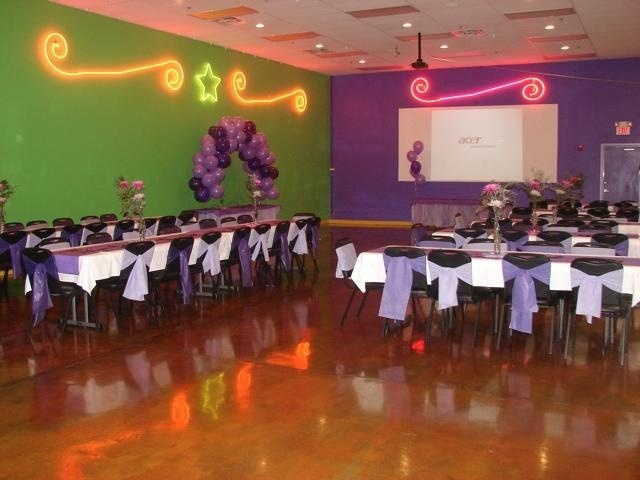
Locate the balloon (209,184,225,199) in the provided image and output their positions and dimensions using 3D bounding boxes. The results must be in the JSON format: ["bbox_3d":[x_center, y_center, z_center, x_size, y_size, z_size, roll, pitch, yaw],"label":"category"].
[{"bbox_3d":[-2.304,-1.069,11.131,0.307,0.337,0.354,9,-6,-35],"label":"balloon"}]

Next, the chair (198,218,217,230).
[{"bbox_3d":[-1.916,-0.281,8.436,0.187,0.180,0.200,-4,8,8],"label":"chair"}]

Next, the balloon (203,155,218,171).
[{"bbox_3d":[-2.410,-1.681,10.877,0.313,0.312,0.175,-3,8,-15],"label":"balloon"}]

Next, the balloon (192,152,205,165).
[{"bbox_3d":[-2.689,-1.778,10.890,0.223,0.294,0.241,3,-4,4],"label":"balloon"}]

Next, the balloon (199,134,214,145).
[{"bbox_3d":[-2.495,-2.200,10.865,0.224,0.303,0.241,0,13,-2],"label":"balloon"}]

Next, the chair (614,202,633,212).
[{"bbox_3d":[6.205,-0.675,10.136,0.251,0.130,0.267,3,10,21],"label":"chair"}]

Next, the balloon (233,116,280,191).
[{"bbox_3d":[-1.601,-1.938,12.008,0.683,1.861,1.465,2,9,20],"label":"balloon"}]

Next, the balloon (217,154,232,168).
[{"bbox_3d":[-2.116,-1.770,11.126,0.261,0.340,0.275,4,7,24],"label":"balloon"}]

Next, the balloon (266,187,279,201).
[{"bbox_3d":[-1.208,-1.173,12.535,0.270,0.347,0.273,6,1,-9],"label":"balloon"}]

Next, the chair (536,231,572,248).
[{"bbox_3d":[3.077,-0.036,6.467,0.259,0.287,0.270,4,8,21],"label":"chair"}]

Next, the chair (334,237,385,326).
[{"bbox_3d":[0.477,0.482,6.669,0.812,1.333,0.797,0,2,26],"label":"chair"}]

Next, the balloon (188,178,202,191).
[{"bbox_3d":[-2.789,-1.233,11.001,0.280,0.373,0.292,2,6,35],"label":"balloon"}]

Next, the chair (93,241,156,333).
[{"bbox_3d":[-2.397,0.489,6.216,0.646,0.995,1.016,-3,9,-19],"label":"chair"}]

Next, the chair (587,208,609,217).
[{"bbox_3d":[5.139,-0.486,9.142,0.330,0.133,0.167,2,9,18],"label":"chair"}]

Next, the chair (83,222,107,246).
[{"bbox_3d":[-3.347,-0.087,7.348,0.265,0.479,0.294,-4,13,-43],"label":"chair"}]

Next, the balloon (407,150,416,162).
[{"bbox_3d":[2.822,-2.574,15.258,0.307,0.329,0.266,1,8,10],"label":"balloon"}]

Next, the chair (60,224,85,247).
[{"bbox_3d":[-3.757,-0.056,7.640,0.356,0.451,0.403,3,-5,-32],"label":"chair"}]

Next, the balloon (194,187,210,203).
[{"bbox_3d":[-2.631,-1.003,10.976,0.287,0.373,0.302,5,13,28],"label":"balloon"}]

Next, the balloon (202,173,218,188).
[{"bbox_3d":[-2.431,-1.313,10.899,0.313,0.316,0.195,-2,8,-13],"label":"balloon"}]

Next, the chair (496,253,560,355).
[{"bbox_3d":[2.212,0.604,5.271,0.601,1.001,0.971,3,9,27],"label":"chair"}]

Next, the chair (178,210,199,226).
[{"bbox_3d":[-2.538,-0.425,9.553,0.284,0.358,0.381,-5,16,-1],"label":"chair"}]

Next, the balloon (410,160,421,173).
[{"bbox_3d":[2.924,-2.225,15.186,0.300,0.337,0.296,-5,-4,-3],"label":"balloon"}]

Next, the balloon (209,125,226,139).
[{"bbox_3d":[-2.261,-2.391,10.938,0.289,0.159,0.295,25,39,29],"label":"balloon"}]

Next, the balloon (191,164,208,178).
[{"bbox_3d":[-2.648,-1.518,10.900,0.257,0.285,0.310,-11,1,-10],"label":"balloon"}]

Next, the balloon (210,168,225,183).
[{"bbox_3d":[-2.311,-1.460,11.098,0.282,0.363,0.287,18,30,35],"label":"balloon"}]

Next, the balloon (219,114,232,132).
[{"bbox_3d":[-2.132,-2.642,11.237,0.324,0.421,0.340,4,8,22],"label":"balloon"}]

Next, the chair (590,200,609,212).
[{"bbox_3d":[5.831,-0.709,10.356,0.373,0.314,0.397,2,4,21],"label":"chair"}]

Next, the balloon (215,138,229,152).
[{"bbox_3d":[-2.168,-2.101,10.976,0.329,0.317,0.168,-4,8,-20],"label":"balloon"}]

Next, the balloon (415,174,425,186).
[{"bbox_3d":[3.083,-1.827,15.240,0.274,0.358,0.292,-8,-4,16],"label":"balloon"}]

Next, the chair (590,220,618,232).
[{"bbox_3d":[4.281,-0.209,7.536,0.254,0.132,0.258,1,7,-3],"label":"chair"}]

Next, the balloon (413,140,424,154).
[{"bbox_3d":[3.032,-2.835,15.194,0.354,0.401,0.299,-1,8,-3],"label":"balloon"}]

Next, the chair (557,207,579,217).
[{"bbox_3d":[4.766,-0.523,9.522,0.275,0.178,0.352,-9,12,-44],"label":"chair"}]
